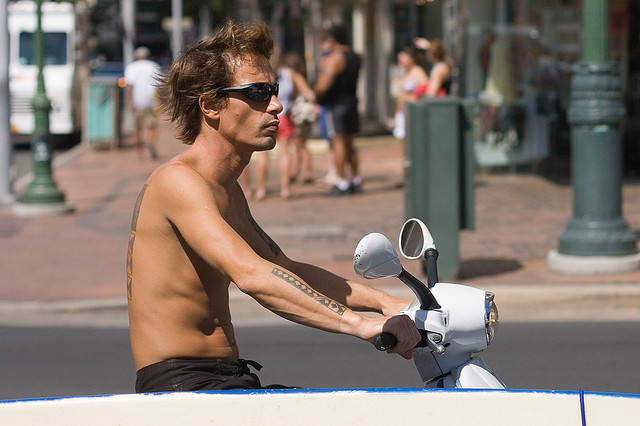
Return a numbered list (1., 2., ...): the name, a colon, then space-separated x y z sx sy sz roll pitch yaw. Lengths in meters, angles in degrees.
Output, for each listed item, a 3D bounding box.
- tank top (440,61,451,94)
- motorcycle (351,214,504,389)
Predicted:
1. tank top: 1.467 -1.594 17.914 0.117 0.367 0.346 -2 11 6
2. motorcycle: 0.831 0.578 10.161 1.030 1.065 0.956 -3 6 12
